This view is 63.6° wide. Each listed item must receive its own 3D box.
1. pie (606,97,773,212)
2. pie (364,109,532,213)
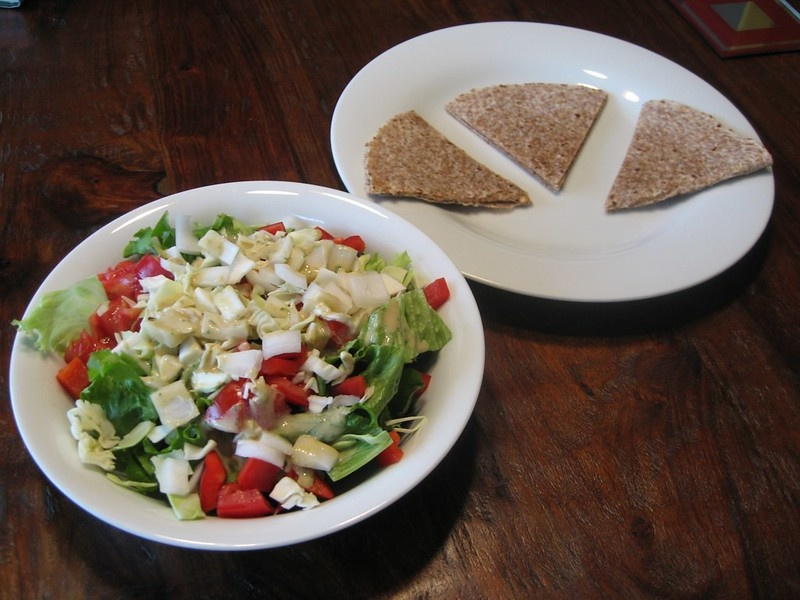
[{"bbox_3d":[1.125,-0.563,2.511,0.469,0.046,0.545,10,57,26],"label":"pie"},{"bbox_3d":[0.127,-0.465,2.354,0.493,0.045,0.376,31,48,11],"label":"pie"}]
